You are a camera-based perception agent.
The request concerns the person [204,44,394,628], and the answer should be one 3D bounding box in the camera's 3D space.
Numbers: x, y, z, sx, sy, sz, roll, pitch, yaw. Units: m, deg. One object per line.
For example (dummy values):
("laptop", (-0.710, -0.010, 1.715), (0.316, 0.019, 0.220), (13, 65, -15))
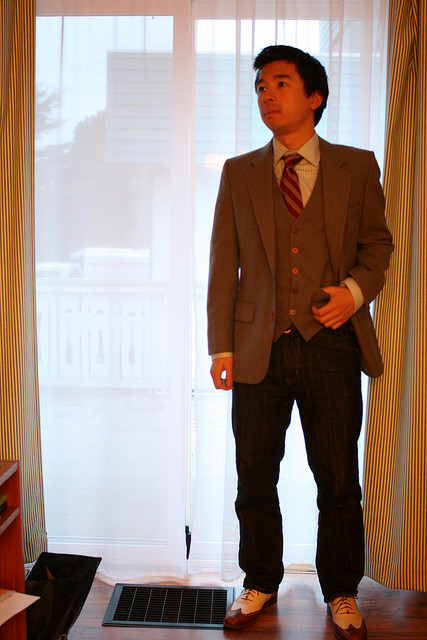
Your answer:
("person", (0.226, 0.062, 1.741), (0.506, 1.574, 0.222), (2, 3, 19))
